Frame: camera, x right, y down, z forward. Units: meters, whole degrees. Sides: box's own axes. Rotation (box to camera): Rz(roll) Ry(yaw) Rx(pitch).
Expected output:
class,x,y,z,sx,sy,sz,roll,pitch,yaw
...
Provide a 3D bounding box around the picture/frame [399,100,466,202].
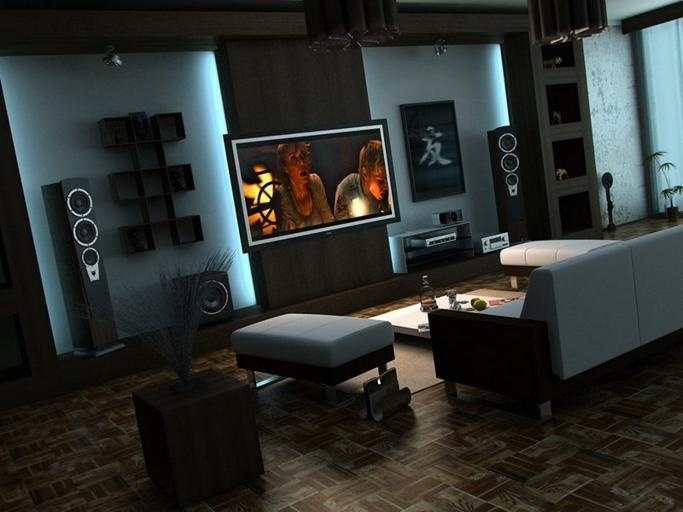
class,x,y,z,sx,sy,sz,roll,pitch,yaw
picture/frame,1.247,-1.474,6.911,1.265,1.632,0.126,-15,11,-40

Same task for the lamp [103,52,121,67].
class,x,y,z,sx,sy,sz,roll,pitch,yaw
lamp,-2.221,-1.918,4.805,0.132,0.102,0.170,-10,10,-9

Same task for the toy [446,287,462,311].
class,x,y,z,sx,sy,sz,roll,pitch,yaw
toy,1.042,0.406,4.475,0.129,0.199,0.201,-7,2,-3

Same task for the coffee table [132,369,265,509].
class,x,y,z,sx,sy,sz,roll,pitch,yaw
coffee table,-0.800,0.907,2.855,0.634,0.653,0.621,-15,14,-36

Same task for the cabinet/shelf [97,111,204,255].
class,x,y,z,sx,sy,sz,roll,pitch,yaw
cabinet/shelf,-1.987,-0.784,5.197,0.850,1.449,0.402,-11,10,-18

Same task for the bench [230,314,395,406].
class,x,y,z,sx,sy,sz,roll,pitch,yaw
bench,-0.209,0.703,3.669,1.096,0.430,0.537,-1,12,37

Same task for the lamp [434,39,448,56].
class,x,y,z,sx,sy,sz,roll,pitch,yaw
lamp,1.363,-2.858,6.786,0.165,0.233,0.069,-7,6,-16

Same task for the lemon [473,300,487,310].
class,x,y,z,sx,sy,sz,roll,pitch,yaw
lemon,1.153,0.402,4.055,0.074,0.059,0.084,-1,2,4
